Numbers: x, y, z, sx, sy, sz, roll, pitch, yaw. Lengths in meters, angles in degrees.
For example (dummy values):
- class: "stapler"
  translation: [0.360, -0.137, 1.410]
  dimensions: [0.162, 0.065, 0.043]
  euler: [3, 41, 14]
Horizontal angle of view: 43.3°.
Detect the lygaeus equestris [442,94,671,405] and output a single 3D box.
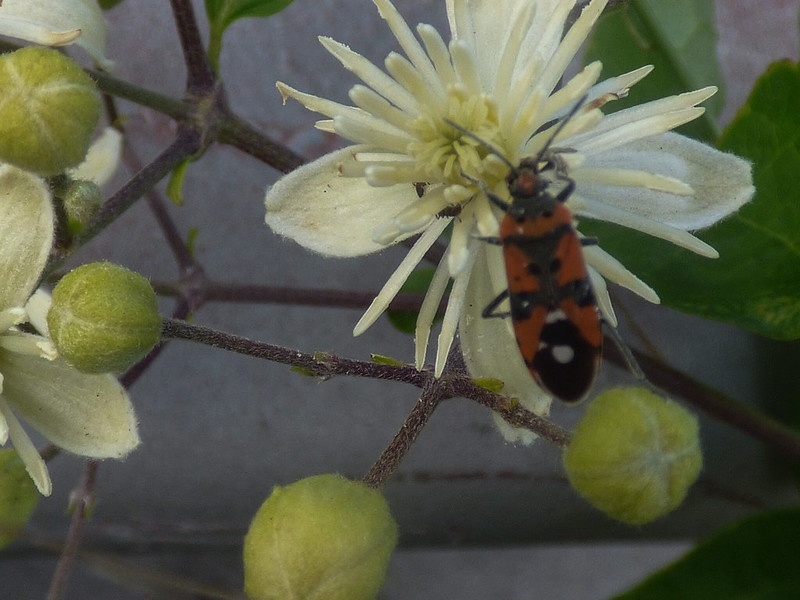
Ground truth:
- class: "lygaeus equestris"
  translation: [0.140, -0.053, 1.034]
  dimensions: [0.222, 0.311, 0.090]
  euler: [-10, 16, 13]
